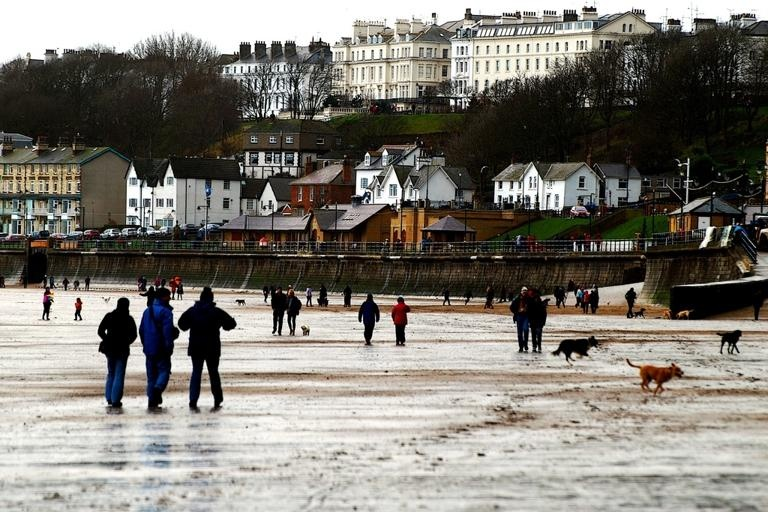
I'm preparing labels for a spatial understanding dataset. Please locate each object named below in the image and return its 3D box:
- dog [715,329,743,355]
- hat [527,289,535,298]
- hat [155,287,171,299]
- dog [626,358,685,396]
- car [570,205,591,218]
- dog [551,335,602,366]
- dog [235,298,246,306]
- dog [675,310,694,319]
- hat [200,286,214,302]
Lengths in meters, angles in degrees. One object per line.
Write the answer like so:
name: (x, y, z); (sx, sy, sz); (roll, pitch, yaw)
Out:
dog: (19.191, 4.565, 102.825); (1.220, 1.312, 2.498); (1, 5, 10)
hat: (8.482, 2.053, 107.050); (0.245, 0.357, 0.348); (-2, -16, 16)
hat: (-11.420, 1.818, 94.596); (0.631, 0.521, 0.567); (-3, 7, 1)
dog: (14.043, 6.234, 97.055); (3.353, 1.724, 0.745); (6, 3, 31)
car: (17.233, -4.007, 162.168); (1.283, 1.003, 2.868); (0, 0, -10)
dog: (10.592, 5.027, 101.736); (1.708, 1.230, 2.576); (5, 6, 41)
dog: (-10.245, 3.192, 132.143); (0.294, 0.581, 1.246); (1, 3, -18)
dog: (18.478, 3.478, 114.014); (0.320, 0.630, 1.073); (-3, 6, -40)
hat: (-9.142, 1.870, 94.712); (0.680, 0.721, 0.746); (2, -2, -5)
